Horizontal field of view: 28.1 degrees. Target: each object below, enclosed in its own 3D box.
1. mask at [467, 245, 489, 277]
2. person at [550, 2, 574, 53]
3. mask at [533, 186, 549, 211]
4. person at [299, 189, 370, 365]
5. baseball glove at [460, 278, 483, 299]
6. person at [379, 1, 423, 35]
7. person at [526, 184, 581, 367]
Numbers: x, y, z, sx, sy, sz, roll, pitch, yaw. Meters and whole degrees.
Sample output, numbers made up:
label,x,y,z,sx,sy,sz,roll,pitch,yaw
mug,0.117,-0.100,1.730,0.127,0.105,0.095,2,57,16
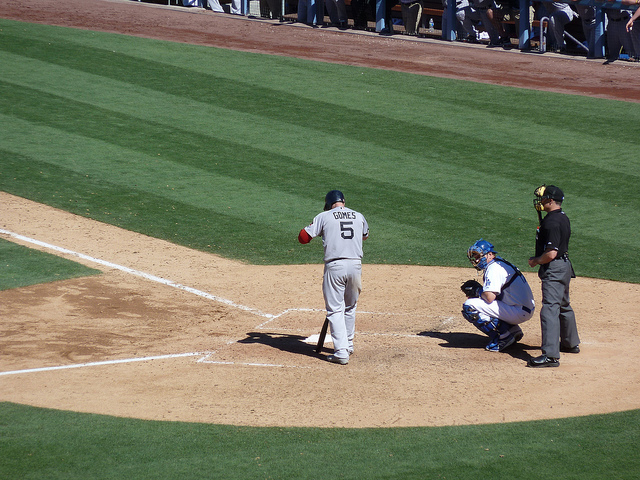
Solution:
label,x,y,z,sx,sy,sz,roll,pitch,yaw
mask,2.331,0.275,18.855,0.292,0.438,0.353,2,9,1
person,5.688,-5.037,30.247,0.515,1.146,1.012,4,9,9
mask,3.235,-0.610,18.662,0.202,0.392,0.482,4,9,9
person,0.205,0.533,18.636,0.793,2.457,0.738,4,10,10
baseball glove,2.300,0.753,19.380,0.298,0.250,0.596,3,8,5
person,2.018,-5.688,32.733,0.959,0.841,0.998,1,8,-2
person,3.409,0.518,18.441,0.796,2.581,0.733,4,10,9
